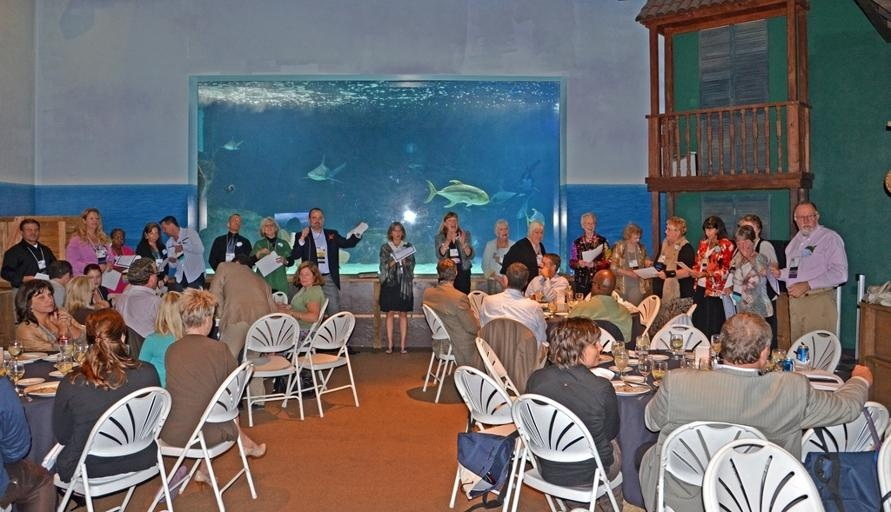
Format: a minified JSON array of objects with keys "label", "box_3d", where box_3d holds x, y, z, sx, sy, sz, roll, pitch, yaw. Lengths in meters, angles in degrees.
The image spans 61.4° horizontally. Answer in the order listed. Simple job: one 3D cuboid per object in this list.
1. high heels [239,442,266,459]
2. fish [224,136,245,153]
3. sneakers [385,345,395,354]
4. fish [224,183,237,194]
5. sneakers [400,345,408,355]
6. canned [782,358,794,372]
[{"label":"high heels","box_3d":[-2.357,2.355,9.219,0.360,0.133,0.193,0,2,-14]},{"label":"fish","box_3d":[-4.346,-2.283,15.333,0.391,0.248,0.049,0,3,-26]},{"label":"sneakers","box_3d":[-0.973,1.634,13.147,0.157,0.109,0.406,-1,-4,5]},{"label":"fish","box_3d":[-4.379,-1.384,15.263,0.214,0.164,0.037,0,3,-26]},{"label":"sneakers","box_3d":[-0.694,1.635,13.108,0.089,0.169,0.177,2,9,6]},{"label":"canned","box_3d":[3.769,1.199,8.221,0.130,0.134,0.130,-2,-4,10]}]
